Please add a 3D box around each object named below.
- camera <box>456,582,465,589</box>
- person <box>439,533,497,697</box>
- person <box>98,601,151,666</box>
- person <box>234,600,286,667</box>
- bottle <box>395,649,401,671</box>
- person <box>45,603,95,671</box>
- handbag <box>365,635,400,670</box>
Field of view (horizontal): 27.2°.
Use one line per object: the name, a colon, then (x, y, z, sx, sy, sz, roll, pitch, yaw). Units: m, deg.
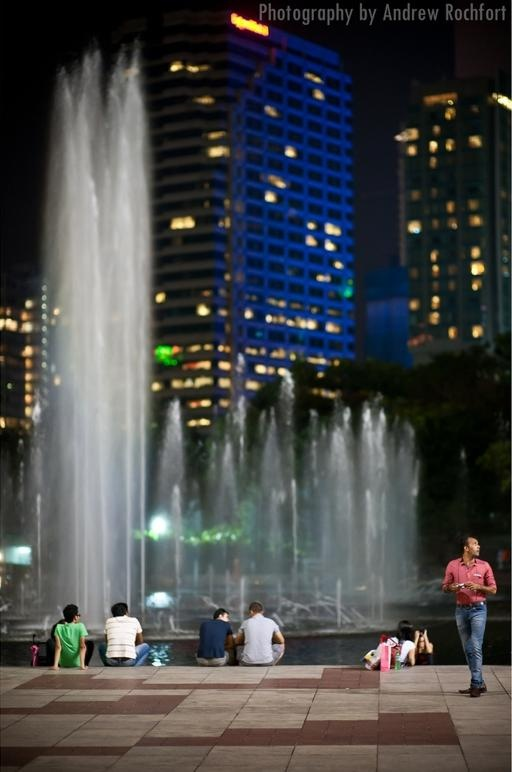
camera: (1.895, 1.861, 9.890, 0.036, 0.055, 0.091, 11, -9, -36)
person: (1.998, 2.180, 10.056, 0.467, 1.479, 0.591, 4, -7, 12)
person: (-1.569, 3.021, 12.456, 0.525, 0.953, 0.674, -2, -9, 14)
person: (0.039, 2.939, 12.708, 0.550, 0.769, 0.727, -1, -4, 19)
bottle: (1.610, 3.117, 12.091, 0.071, 0.199, 0.188, 4, -7, 9)
person: (-2.115, 2.942, 12.340, 0.570, 0.731, 0.542, -2, -13, 17)
handbag: (1.453, 3.045, 12.154, 0.416, 0.450, 0.357, -1, -13, 14)
